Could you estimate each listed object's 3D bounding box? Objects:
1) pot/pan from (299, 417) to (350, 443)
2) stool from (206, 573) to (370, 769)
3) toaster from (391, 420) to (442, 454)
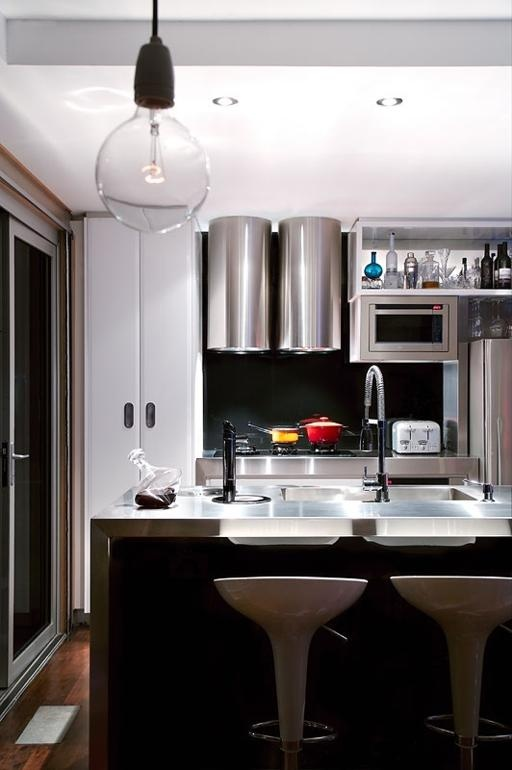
[{"bbox_3d":[0.382,0.261,4.240,0.160,0.142,0.170,1,-9,0],"label":"pot/pan"},{"bbox_3d":[0.117,0.798,2.097,0.394,0.464,0.390,-3,-1,9],"label":"stool"},{"bbox_3d":[0.910,0.296,4.265,0.164,0.176,0.204,0,-5,1],"label":"toaster"}]
